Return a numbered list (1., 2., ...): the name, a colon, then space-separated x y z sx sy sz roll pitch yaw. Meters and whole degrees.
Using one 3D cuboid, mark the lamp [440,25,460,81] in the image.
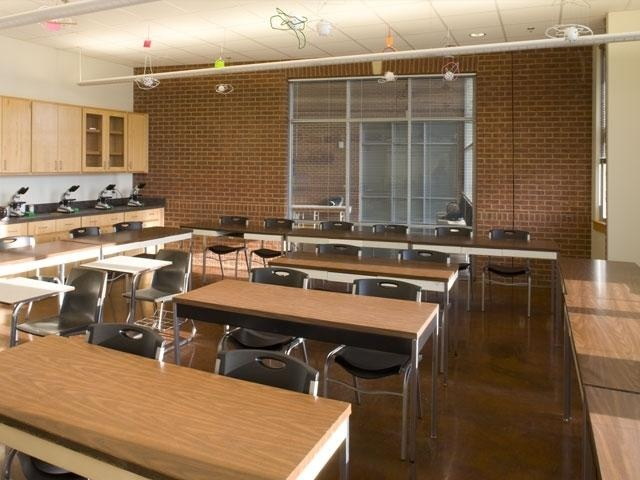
1. lamp: 1.917 -2.762 7.072 0.298 0.648 0.261 -3 19 15
